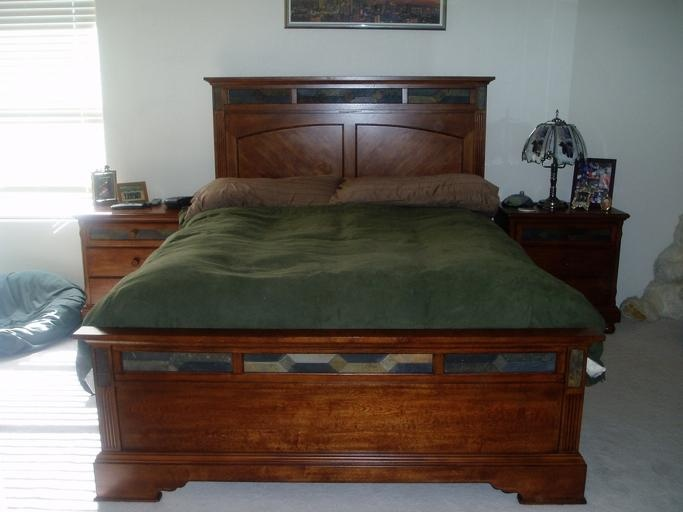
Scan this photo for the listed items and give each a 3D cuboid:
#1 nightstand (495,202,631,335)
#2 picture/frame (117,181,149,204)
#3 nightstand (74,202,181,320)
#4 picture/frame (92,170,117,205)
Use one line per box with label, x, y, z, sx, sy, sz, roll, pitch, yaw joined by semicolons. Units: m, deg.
nightstand;1.253;-0.022;4.280;1.193;1.022;0.764;0;16;2
picture/frame;-1.473;-0.445;4.227;0.179;0.156;0.023;-7;1;-19
nightstand;-1.281;-0.066;4.280;1.002;0.791;0.641;-2;10;-5
picture/frame;-1.674;-0.493;4.248;0.025;0.245;0.198;8;15;25
